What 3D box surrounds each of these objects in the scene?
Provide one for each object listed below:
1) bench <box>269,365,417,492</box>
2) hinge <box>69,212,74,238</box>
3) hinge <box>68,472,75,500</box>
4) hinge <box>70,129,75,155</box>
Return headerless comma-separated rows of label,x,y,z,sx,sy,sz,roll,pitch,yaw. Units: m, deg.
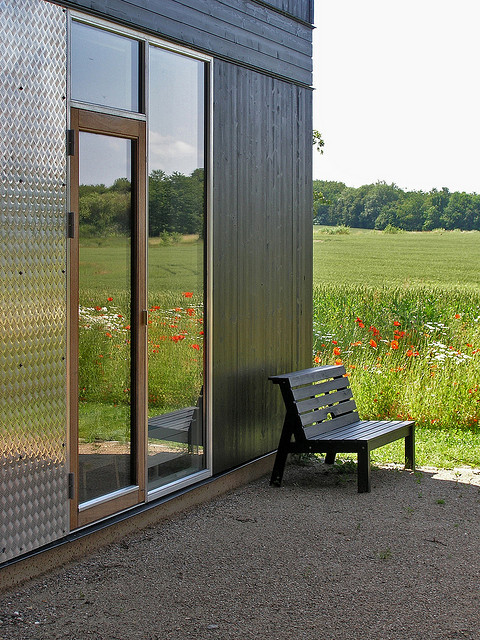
bench,0.747,0.786,4.703,0.726,0.824,1.190,0,-1,35
hinge,-0.793,-0.449,2.960,0.023,0.115,0.018,1,-1,-24
hinge,-0.803,0.793,2.999,0.031,0.125,0.015,1,-1,-38
hinge,-0.790,-0.840,2.970,0.013,0.118,0.039,0,-1,12
